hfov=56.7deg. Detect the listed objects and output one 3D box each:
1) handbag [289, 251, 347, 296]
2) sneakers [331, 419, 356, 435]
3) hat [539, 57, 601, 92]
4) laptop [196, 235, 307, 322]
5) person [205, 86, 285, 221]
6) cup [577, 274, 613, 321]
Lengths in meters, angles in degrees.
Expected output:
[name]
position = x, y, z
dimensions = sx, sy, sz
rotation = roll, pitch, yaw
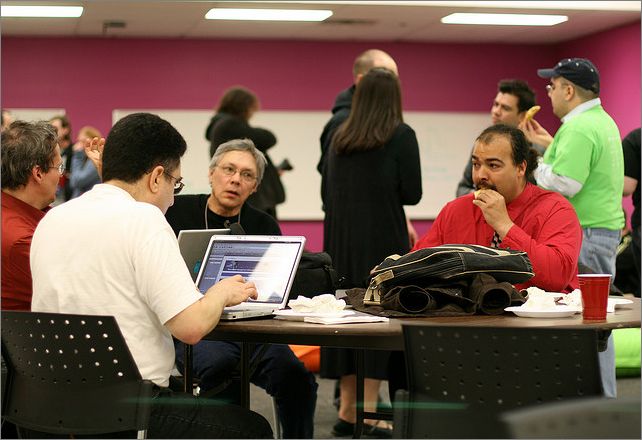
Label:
[handbag]
position = -0.021, 0.231, 2.650
dimensions = 0.207, 0.221, 0.164
rotation = 0, 2, -18
[sneakers]
position = 0.135, 1.250, 3.596
dimensions = 0.154, 0.069, 0.063
rotation = 3, -5, -12
[hat]
position = 1.705, -0.995, 4.080
dimensions = 0.382, 0.169, 0.247
rotation = 17, 14, 16
[laptop]
position = -0.251, 0.213, 2.340
dimensions = 0.358, 0.320, 0.222
rotation = 6, -14, 30
[person]
position = -0.716, -0.499, 5.509
dimensions = 0.597, 1.402, 0.497
rotation = -10, 12, -6
[cup]
position = 0.943, 0.267, 2.046
dimensions = 0.149, 0.165, 0.147
rotation = 0, -7, 0
